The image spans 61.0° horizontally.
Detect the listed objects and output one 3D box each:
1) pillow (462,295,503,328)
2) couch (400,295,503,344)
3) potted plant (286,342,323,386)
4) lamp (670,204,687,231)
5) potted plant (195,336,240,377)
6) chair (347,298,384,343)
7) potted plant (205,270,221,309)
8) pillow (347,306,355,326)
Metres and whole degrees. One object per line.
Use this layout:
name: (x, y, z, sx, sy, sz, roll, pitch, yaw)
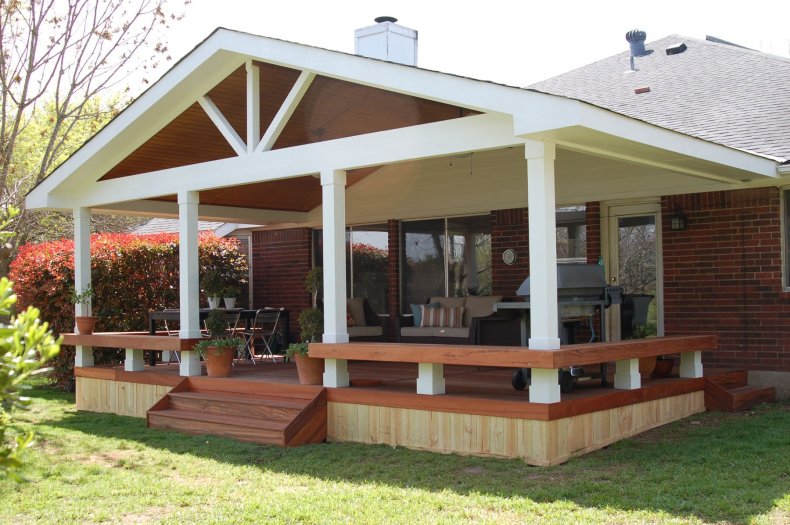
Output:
pillow: (1.514, 0.832, 11.534, 0.168, 0.514, 0.608, 17, -12, -39)
couch: (0.944, 0.951, 11.464, 1.671, 0.700, 0.918, -1, 2, 31)
potted plant: (-1.275, 1.383, 9.233, 0.613, 0.392, 0.583, -1, -3, 17)
lamp: (4.538, -0.718, 10.711, 0.254, 0.401, 0.092, -2, 2, 20)
potted plant: (-2.643, 1.426, 10.157, 0.658, 0.428, 0.609, 0, -8, -3)
chair: (-0.668, 1.064, 12.331, 0.736, 0.669, 0.737, 3, -6, -42)
potted plant: (-3.248, 0.494, 12.008, 0.294, 0.442, 0.456, -3, 2, -17)
pillow: (-0.823, 1.012, 12.593, 0.104, 0.316, 0.218, -15, 19, -31)
